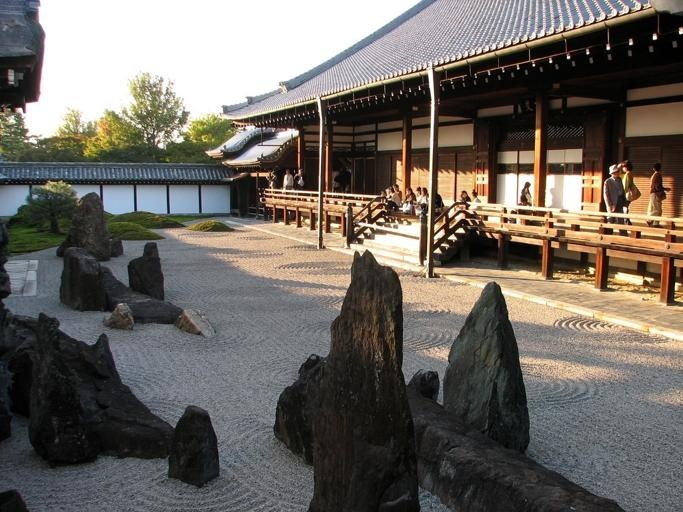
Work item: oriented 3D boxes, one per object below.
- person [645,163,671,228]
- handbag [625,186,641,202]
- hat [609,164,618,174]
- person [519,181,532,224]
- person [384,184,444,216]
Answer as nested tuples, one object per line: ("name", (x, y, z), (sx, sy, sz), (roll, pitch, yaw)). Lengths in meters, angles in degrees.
("person", (6.915, -1.386, 11.814), (0.397, 1.469, 2.716), (3, 7, 31))
("handbag", (6.525, -1.417, 12.154), (0.299, 0.392, 0.198), (13, 14, 21))
("hat", (6.102, -1.933, 12.113), (0.179, 0.214, 0.304), (3, 6, 27))
("person", (5.086, -1.521, 14.982), (0.328, 1.165, 1.981), (2, 6, 18))
("person", (2.452, -1.784, 18.385), (1.698, 0.721, 1.242), (-1, 7, -24))
